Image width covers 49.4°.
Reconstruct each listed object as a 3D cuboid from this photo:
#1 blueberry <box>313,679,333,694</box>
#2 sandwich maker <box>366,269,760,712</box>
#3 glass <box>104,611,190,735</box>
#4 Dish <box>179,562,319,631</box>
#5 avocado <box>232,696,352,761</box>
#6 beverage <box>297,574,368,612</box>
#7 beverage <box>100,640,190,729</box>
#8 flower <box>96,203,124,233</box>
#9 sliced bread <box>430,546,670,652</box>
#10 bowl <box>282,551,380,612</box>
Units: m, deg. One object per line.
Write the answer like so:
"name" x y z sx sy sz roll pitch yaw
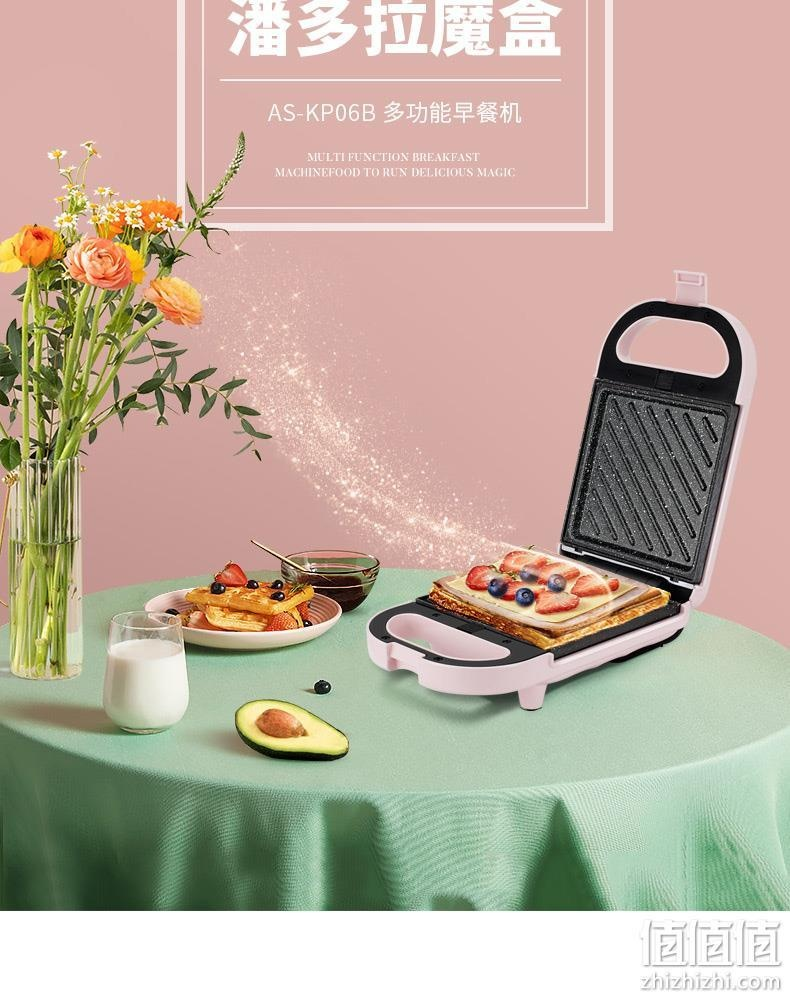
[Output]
"blueberry" -0.091 0.238 1.083 0.018 0.011 0.017 -17 25 -39
"sandwich maker" 0.237 -0.011 1.283 0.628 0.508 0.312 -16 22 -30
"glass" -0.273 0.193 0.958 0.087 0.102 0.082 2 5 17
"Dish" -0.223 0.152 1.264 0.128 0.041 0.125 3 7 0
"avocado" -0.113 0.241 0.903 0.094 0.032 0.054 16 31 10
"beverage" -0.094 0.146 1.410 0.081 0.032 0.078 0 3 24
"beverage" -0.271 0.208 0.969 0.102 0.089 0.103 2 1 36
"flower" -0.349 -0.343 1.055 0.026 0.026 0.039 -26 -4 -10
"sliced bread" 0.199 0.135 1.218 0.182 0.041 0.173 -16 21 -40
"bowl" -0.100 0.125 1.444 0.132 0.057 0.121 0 9 0
